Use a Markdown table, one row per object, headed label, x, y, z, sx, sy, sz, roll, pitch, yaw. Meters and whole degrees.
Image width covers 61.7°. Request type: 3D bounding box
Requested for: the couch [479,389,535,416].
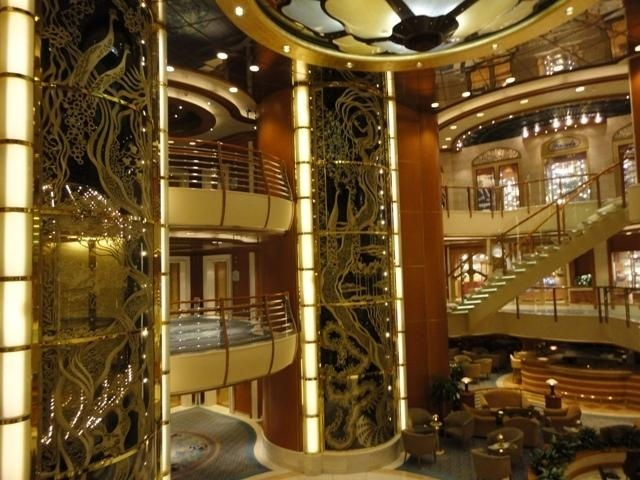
| label | x | y | z | sx | sy | sz | roll | pitch | yaw |
| --- | --- | --- | --- | --- | --- | --- | --- | --- | --- |
| couch | 5.113 | 4.451 | 14.603 | 0.871 | 0.813 | 0.759 | 0 | -16 | 6 |
